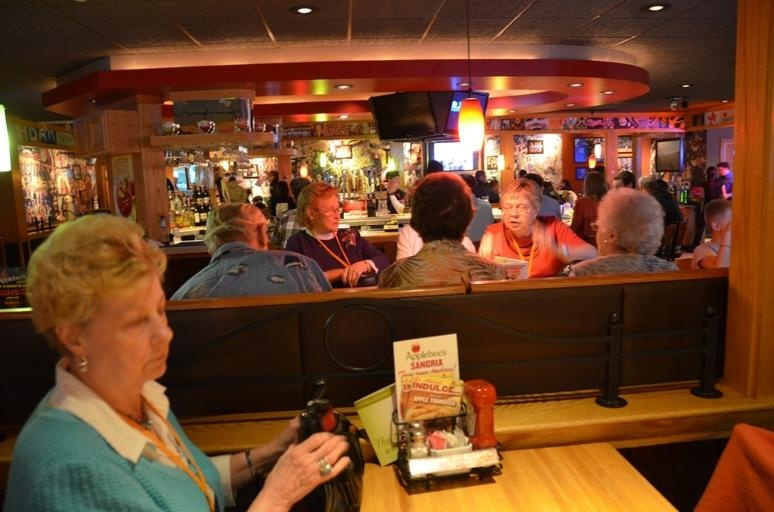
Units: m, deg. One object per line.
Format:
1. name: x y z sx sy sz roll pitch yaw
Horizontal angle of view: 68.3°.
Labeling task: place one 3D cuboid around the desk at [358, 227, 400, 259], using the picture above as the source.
1. desk: -0.093 -0.176 7.023 0.689 0.362 0.338 0 4 -5

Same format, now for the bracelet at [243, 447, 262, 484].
1. bracelet: -0.553 0.860 2.328 0.036 0.107 0.102 -22 13 -26

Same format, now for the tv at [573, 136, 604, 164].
1. tv: 5.476 -2.902 15.498 1.006 0.781 0.094 -1 5 9

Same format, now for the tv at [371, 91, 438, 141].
1. tv: 0.398 -1.900 8.002 1.151 0.565 0.761 -3 7 23

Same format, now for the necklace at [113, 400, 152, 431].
1. necklace: -0.893 0.559 1.982 0.168 0.069 0.211 -2 -1 -21

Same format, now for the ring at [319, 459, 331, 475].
1. ring: -0.226 0.763 2.050 0.044 0.049 0.024 -25 -1 -14
